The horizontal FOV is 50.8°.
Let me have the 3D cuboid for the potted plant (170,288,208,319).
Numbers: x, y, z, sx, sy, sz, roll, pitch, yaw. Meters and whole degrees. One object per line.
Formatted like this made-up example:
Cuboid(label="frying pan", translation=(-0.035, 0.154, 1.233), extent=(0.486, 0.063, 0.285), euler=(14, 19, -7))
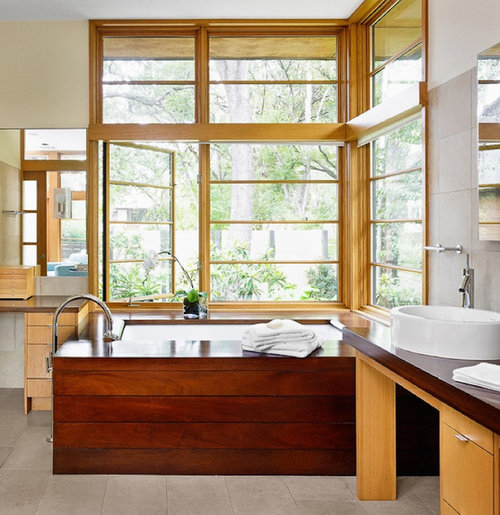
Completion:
Cuboid(label="potted plant", translation=(-0.452, 0.347, 3.967), extent=(0.242, 0.200, 0.231), euler=(-1, -1, 32))
